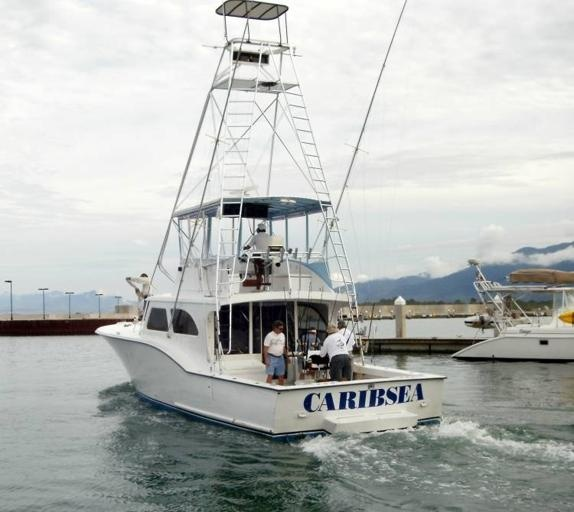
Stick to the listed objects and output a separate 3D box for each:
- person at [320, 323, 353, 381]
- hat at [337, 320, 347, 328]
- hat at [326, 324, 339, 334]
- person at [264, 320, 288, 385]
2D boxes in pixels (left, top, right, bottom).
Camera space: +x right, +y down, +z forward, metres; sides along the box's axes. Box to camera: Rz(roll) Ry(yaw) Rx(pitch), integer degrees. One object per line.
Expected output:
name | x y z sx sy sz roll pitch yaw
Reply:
person | 0.912 1.787 11.951 0.560 1.008 0.590 -2 -4 4
hat | 1.141 1.409 13.432 0.190 0.188 0.212 4 11 -2
hat | 0.859 1.389 12.283 0.218 0.078 0.242 -2 4 2
person | -0.221 1.843 12.319 0.405 1.218 0.528 -2 -4 0
